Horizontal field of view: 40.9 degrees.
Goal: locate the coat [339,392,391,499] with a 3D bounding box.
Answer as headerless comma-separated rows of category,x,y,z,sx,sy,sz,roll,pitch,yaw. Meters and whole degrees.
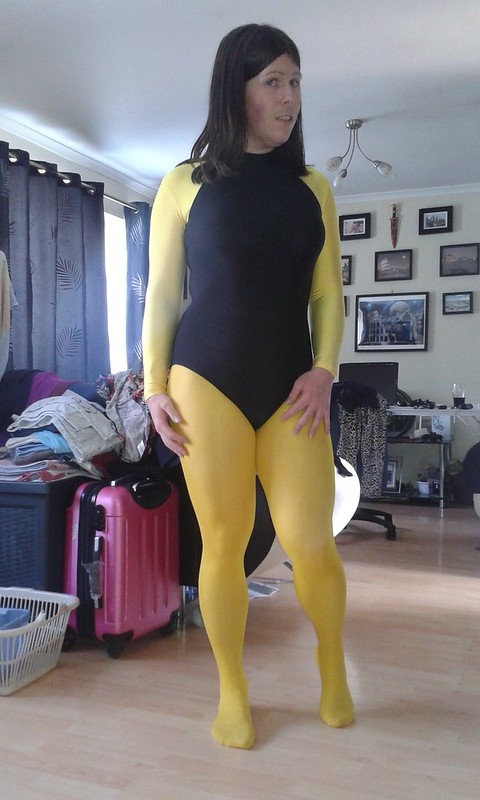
coat,0.716,0.323,3.764,0.242,0.531,0.076,5,11,37

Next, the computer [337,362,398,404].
computer,0.951,-0.168,4.692,0.462,0.325,0.340,1,-4,25

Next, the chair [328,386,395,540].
chair,0.745,0.364,3.880,0.514,0.832,0.488,9,3,1

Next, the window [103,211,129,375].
window,-0.979,-0.906,5.105,0.210,1.312,0.121,2,-10,-12

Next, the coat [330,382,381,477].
coat,0.625,0.135,3.642,0.302,0.547,0.129,0,4,3

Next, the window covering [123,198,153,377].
window covering,-0.800,-0.836,5.059,0.136,1.361,0.243,7,23,6

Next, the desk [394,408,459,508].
desk,1.435,0.442,4.924,0.658,0.653,0.488,0,8,8

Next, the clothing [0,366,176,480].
clothing,-0.420,0.076,1.996,0.481,0.186,0.359,13,7,28
